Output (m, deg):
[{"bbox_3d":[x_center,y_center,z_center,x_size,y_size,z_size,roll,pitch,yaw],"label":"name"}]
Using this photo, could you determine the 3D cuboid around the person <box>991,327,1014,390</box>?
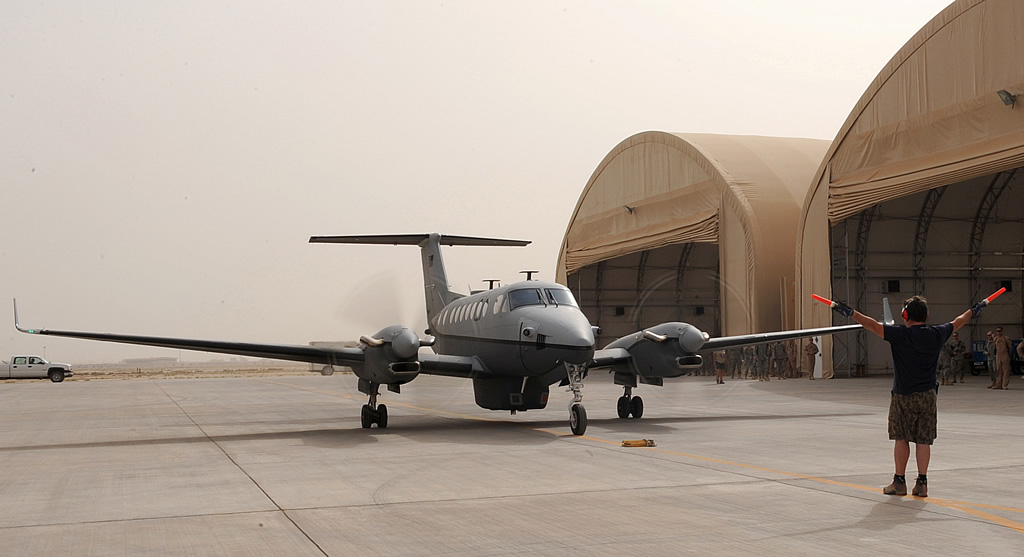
[{"bbox_3d":[19.578,3.235,32.461,0.450,2.451,1.080,-1,-6,20],"label":"person"}]

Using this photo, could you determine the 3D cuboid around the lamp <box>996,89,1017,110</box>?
[{"bbox_3d":[18.904,-6.883,30.899,0.666,0.750,0.598,0,-5,9],"label":"lamp"}]
